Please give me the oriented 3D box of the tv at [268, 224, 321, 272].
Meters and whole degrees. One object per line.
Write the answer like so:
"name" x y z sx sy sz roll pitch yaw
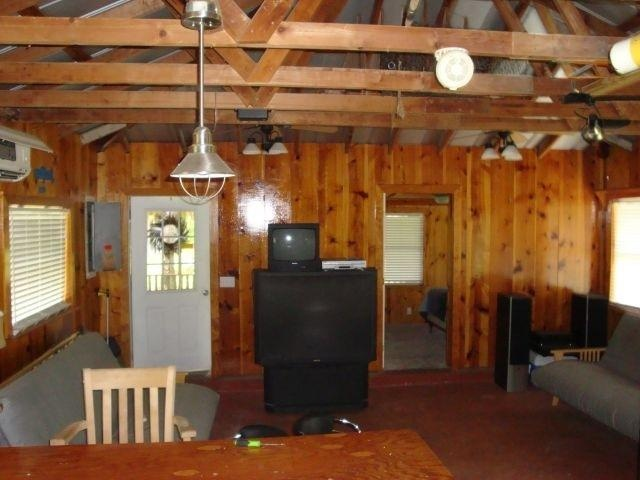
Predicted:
"tv" -0.402 0.076 6.139 0.635 0.532 0.602 0 0 -24

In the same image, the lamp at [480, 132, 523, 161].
"lamp" 2.077 -1.078 6.521 0.406 0.356 0.251 0 -12 4

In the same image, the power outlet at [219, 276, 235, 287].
"power outlet" -1.101 0.497 6.697 0.220 0.139 0.113 0 -1 -4

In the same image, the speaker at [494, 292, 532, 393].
"speaker" 2.208 1.165 6.540 0.405 1.006 0.401 6 -4 -38

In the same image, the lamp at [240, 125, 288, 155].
"lamp" -0.530 -1.096 6.266 0.672 0.363 0.272 1 9 10

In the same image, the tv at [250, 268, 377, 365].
"tv" -0.168 0.899 6.102 1.405 0.922 0.647 3 -10 -25
